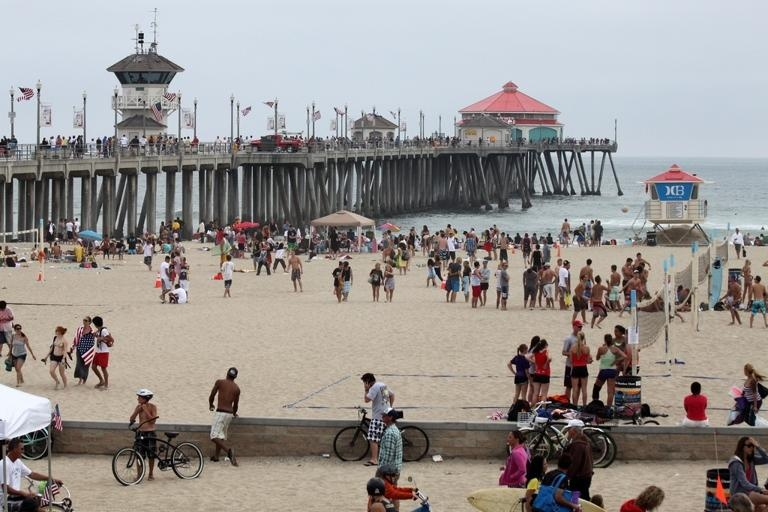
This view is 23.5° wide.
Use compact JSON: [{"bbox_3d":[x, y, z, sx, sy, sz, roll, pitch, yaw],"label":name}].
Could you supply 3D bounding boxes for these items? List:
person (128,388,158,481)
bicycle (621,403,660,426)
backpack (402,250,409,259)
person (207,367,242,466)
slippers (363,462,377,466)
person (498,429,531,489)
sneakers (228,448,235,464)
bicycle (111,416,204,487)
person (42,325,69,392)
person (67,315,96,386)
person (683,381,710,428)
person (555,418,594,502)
[{"bbox_3d":[-4.854,3.649,37.528,0.519,1.837,0.628,-2,2,-9],"label":"person"},{"bbox_3d":[5.449,3.331,38.592,1.091,0.392,0.559,-3,3,-40],"label":"bicycle"},{"bbox_3d":[0.704,-0.043,57.039,0.192,0.249,0.247,-3,-13,1],"label":"backpack"},{"bbox_3d":[-3.263,3.333,38.022,0.616,2.033,0.499,-1,2,-5],"label":"person"},{"bbox_3d":[-0.279,4.292,37.907,0.224,0.058,0.091,4,-2,-22],"label":"slippers"},{"bbox_3d":[2.544,3.925,35.945,0.573,1.048,1.627,-1,2,3],"label":"person"},{"bbox_3d":[-3.114,4.140,38.047,0.123,0.318,0.142,-1,1,-28],"label":"sneakers"},{"bbox_3d":[-4.612,4.051,37.577,1.825,1.054,1.093,1,-9,-21],"label":"bicycle"},{"bbox_3d":[-7.277,2.263,41.375,0.548,1.395,1.231,-2,2,-10],"label":"person"},{"bbox_3d":[-6.708,2.131,41.312,0.568,1.534,0.532,2,-5,-1],"label":"person"},{"bbox_3d":[6.401,3.039,37.927,0.488,0.898,0.640,-1,2,9],"label":"person"},{"bbox_3d":[3.687,4.261,35.654,0.704,2.043,0.878,8,8,19],"label":"person"}]
